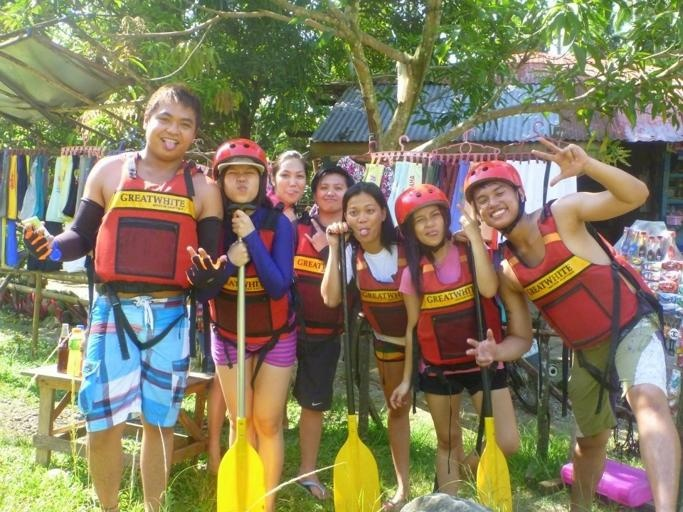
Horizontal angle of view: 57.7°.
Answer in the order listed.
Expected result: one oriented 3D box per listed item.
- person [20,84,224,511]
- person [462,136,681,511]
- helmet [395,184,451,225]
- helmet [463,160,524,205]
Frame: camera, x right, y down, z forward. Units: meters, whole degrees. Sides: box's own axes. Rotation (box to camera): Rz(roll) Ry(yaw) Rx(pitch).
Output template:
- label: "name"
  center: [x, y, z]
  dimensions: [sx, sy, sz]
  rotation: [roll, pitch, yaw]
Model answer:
- label: "person"
  center: [-1.490, 0.282, 4.630]
  dimensions: [1.205, 3.177, 0.523]
  rotation: [2, -8, -1]
- label: "person"
  center: [1.841, 0.510, 4.723]
  dimensions: [1.464, 2.926, 0.942]
  rotation: [0, -8, 13]
- label: "helmet"
  center: [0.647, -0.475, 5.234]
  dimensions: [0.281, 0.432, 0.322]
  rotation: [-3, 6, -4]
- label: "helmet"
  center: [1.193, -0.617, 5.103]
  dimensions: [0.341, 0.286, 0.486]
  rotation: [-13, -9, 24]
